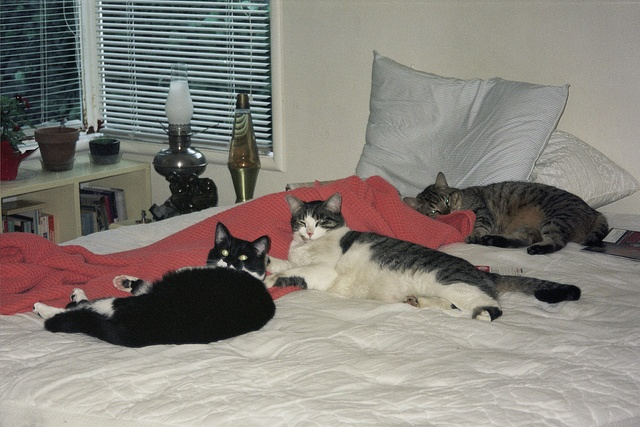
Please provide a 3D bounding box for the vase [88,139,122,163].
[{"bbox_3d":[-1.474,-0.420,3.786,0.184,0.132,0.180,0,3,-11],"label":"vase"}]

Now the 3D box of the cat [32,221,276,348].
[{"bbox_3d":[-0.456,0.223,1.686,0.509,0.198,0.352,4,16,-25],"label":"cat"}]

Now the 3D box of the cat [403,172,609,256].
[{"bbox_3d":[0.869,0.001,2.525,0.645,0.249,0.414,2,-22,15],"label":"cat"}]

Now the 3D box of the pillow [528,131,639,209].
[{"bbox_3d":[1.352,-0.134,2.904,0.428,0.134,0.445,30,48,19],"label":"pillow"}]

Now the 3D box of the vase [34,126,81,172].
[{"bbox_3d":[-1.732,-0.418,3.649,0.280,0.236,0.269,-3,12,-29],"label":"vase"}]

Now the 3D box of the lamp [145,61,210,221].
[{"bbox_3d":[-0.858,-0.474,3.532,0.460,0.915,0.348,-6,20,-15],"label":"lamp"}]

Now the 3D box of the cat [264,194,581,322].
[{"bbox_3d":[0.292,0.144,2.039,1.203,0.409,0.370,5,16,26],"label":"cat"}]

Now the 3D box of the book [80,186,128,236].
[{"bbox_3d":[-1.448,-0.014,3.691,0.302,0.282,0.175,-8,-1,39],"label":"book"}]

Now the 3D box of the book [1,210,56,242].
[{"bbox_3d":[-1.669,0.063,3.153,0.179,0.135,0.189,20,16,26],"label":"book"}]
